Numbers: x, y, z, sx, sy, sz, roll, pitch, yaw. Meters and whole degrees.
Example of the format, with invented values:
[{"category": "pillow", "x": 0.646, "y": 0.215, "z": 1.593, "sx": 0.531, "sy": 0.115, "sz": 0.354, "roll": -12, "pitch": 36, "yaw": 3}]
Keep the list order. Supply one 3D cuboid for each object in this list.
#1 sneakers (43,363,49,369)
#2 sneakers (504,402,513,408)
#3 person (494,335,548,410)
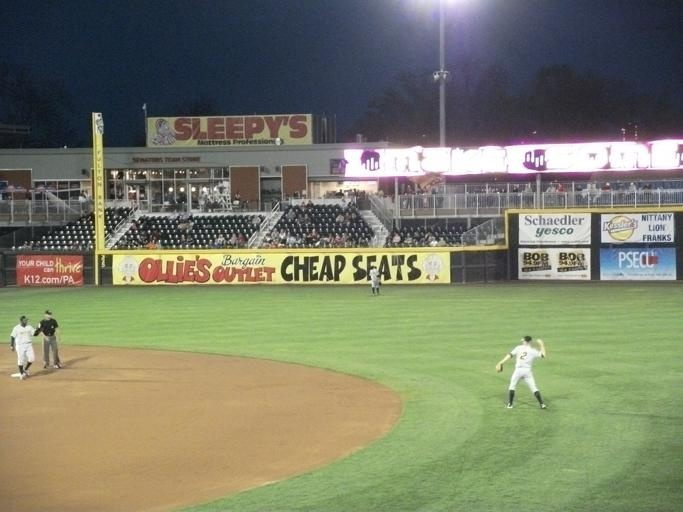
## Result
[{"category": "sneakers", "x": -9.046, "y": 3.390, "z": 29.596, "sx": 0.242, "sy": 0.170, "sz": 0.078, "roll": 4, "pitch": 6, "yaw": 25}, {"category": "sneakers", "x": 4.382, "y": 3.930, "z": 25.307, "sx": 0.146, "sy": 0.142, "sz": 0.339, "roll": 2, "pitch": 4, "yaw": 9}, {"category": "person", "x": 4.859, "y": 3.034, "z": 25.472, "sx": 0.986, "sy": 1.913, "sz": 1.318, "roll": -1, "pitch": 1, "yaw": 10}]
